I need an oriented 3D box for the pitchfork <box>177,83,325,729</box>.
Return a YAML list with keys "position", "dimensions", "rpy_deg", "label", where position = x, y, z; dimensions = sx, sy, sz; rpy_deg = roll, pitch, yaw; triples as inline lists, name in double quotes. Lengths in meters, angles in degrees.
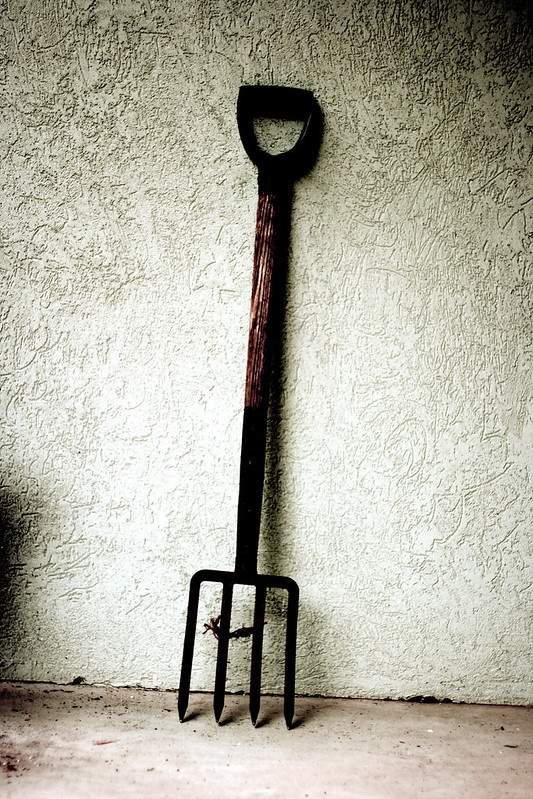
- position: [-0.013, 0.046, 1.872]
  dimensions: [0.227, 1.435, 0.067]
  rpy_deg: [5, -2, -4]
  label: "pitchfork"
